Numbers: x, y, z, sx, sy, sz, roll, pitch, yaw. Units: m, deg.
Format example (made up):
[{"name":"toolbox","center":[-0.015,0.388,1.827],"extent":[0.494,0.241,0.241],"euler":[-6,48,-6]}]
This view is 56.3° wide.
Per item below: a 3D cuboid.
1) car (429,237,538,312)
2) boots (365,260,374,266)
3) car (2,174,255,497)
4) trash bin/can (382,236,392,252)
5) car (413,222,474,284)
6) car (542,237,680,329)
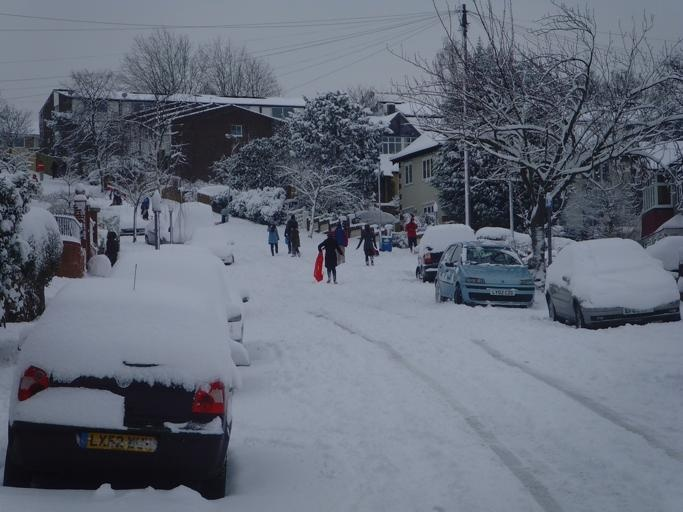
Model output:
[{"name":"car","center":[3.901,0.515,17.634],"extent":[2.172,1.678,2.668],"euler":[-1,4,-7]},{"name":"boots","center":[1.334,0.366,29.908],"extent":[0.454,0.432,0.162],"euler":[-4,-1,37]},{"name":"car","center":[-2.128,1.014,6.782],"extent":[1.272,1.522,2.595],"euler":[1,9,-3]},{"name":"trash bin/can","center":[2.744,-0.681,38.228],"extent":[0.538,1.394,0.817],"euler":[2,0,1]},{"name":"car","center":[3.607,-0.117,23.941],"extent":[1.258,1.432,2.535],"euler":[-1,10,-3]},{"name":"car","center":[5.656,0.627,14.155],"extent":[1.419,1.421,2.775],"euler":[-2,-3,-2]}]
